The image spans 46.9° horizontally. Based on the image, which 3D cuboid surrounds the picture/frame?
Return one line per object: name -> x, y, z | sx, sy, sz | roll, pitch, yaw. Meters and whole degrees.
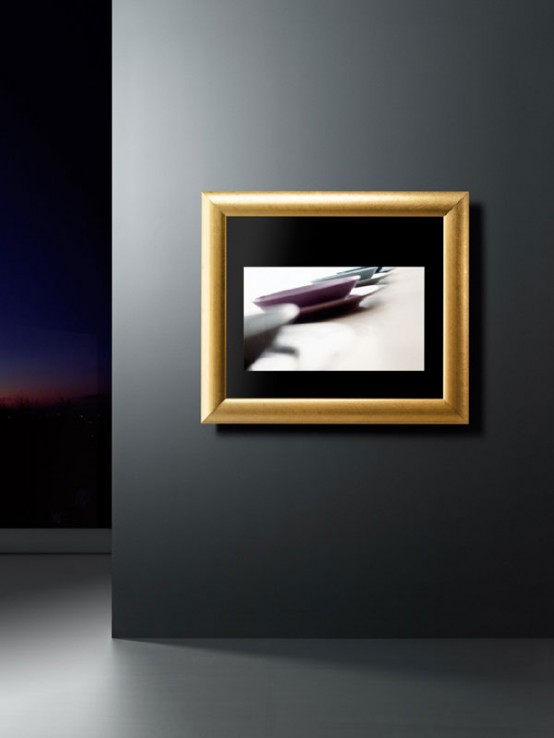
picture/frame -> 0.196, -0.204, 1.988 | 0.592, 0.625, 0.048 | 0, 3, 1
